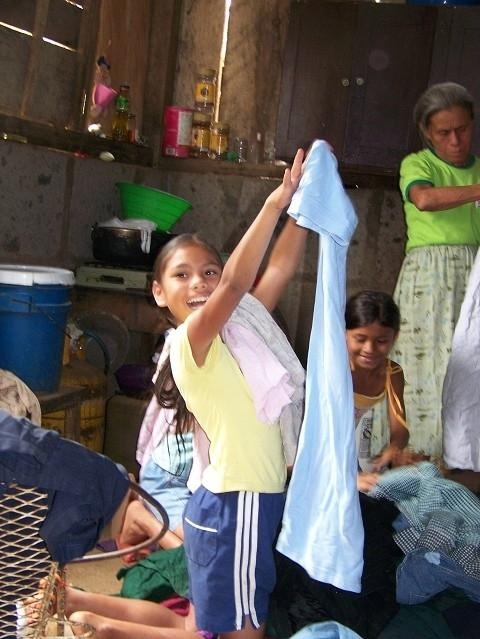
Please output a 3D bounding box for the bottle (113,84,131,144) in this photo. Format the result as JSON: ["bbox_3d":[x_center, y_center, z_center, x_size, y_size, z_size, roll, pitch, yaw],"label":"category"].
[{"bbox_3d":[-0.709,-1.235,3.552,0.104,0.362,0.255,5,2,-13],"label":"bottle"}]

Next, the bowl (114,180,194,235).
[{"bbox_3d":[-0.474,-0.625,3.242,0.430,0.179,0.425,15,7,-2],"label":"bowl"}]

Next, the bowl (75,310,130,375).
[{"bbox_3d":[-0.697,0.119,3.052,0.312,0.305,0.077,33,28,30],"label":"bowl"}]

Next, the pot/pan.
[{"bbox_3d":[-0.543,-0.362,2.991,0.364,0.141,0.379,2,1,4],"label":"pot/pan"}]

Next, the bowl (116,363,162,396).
[{"bbox_3d":[-0.516,0.299,2.922,0.182,0.170,0.075,4,-10,8],"label":"bowl"}]
